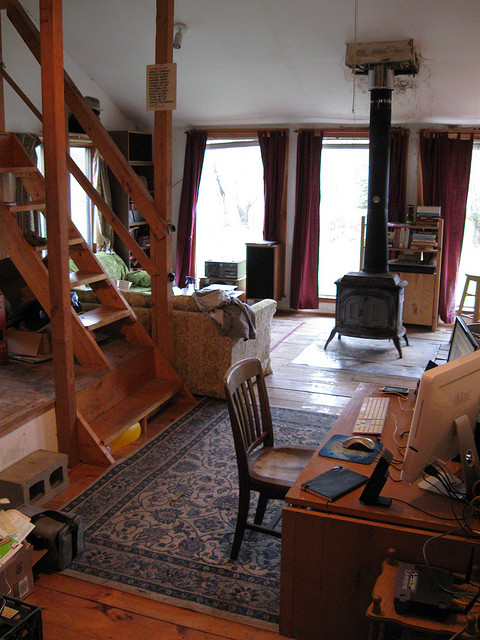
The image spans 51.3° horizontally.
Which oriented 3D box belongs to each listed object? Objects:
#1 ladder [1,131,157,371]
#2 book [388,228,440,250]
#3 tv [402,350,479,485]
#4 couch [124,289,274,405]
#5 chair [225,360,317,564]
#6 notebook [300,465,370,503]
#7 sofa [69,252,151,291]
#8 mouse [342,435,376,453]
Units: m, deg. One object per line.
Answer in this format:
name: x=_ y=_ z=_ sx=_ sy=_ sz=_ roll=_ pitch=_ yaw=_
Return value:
ladder: x=-1.374 y=-0.540 z=3.568 sx=1.072 sy=1.693 sz=1.265 roll=2 pitch=11 yaw=15
book: x=2.195 y=-1.038 z=6.345 sx=0.585 sy=0.267 sz=0.117 roll=4 pitch=12 yaw=23
tv: x=0.572 y=0.290 z=1.412 sx=0.115 sy=0.303 sz=0.336 roll=21 pitch=32 yaw=38
couch: x=-0.255 y=0.233 z=4.380 sx=1.021 sy=0.931 sz=1.061 roll=3 pitch=24 yaw=14
chair: x=0.192 y=0.633 z=2.139 sx=0.450 sy=0.778 sz=0.452 roll=2 pitch=7 yaw=21
notebook: x=0.278 y=0.477 z=1.461 sx=0.075 sy=0.019 sz=0.126 roll=10 pitch=17 yaw=44
sofa: x=-1.547 y=-0.590 z=6.811 sx=0.936 sy=0.602 sz=1.343 roll=5 pitch=14 yaw=13
mouse: x=0.420 y=0.423 z=1.763 sx=0.112 sy=0.034 sz=0.137 roll=2 pitch=12 yaw=14
